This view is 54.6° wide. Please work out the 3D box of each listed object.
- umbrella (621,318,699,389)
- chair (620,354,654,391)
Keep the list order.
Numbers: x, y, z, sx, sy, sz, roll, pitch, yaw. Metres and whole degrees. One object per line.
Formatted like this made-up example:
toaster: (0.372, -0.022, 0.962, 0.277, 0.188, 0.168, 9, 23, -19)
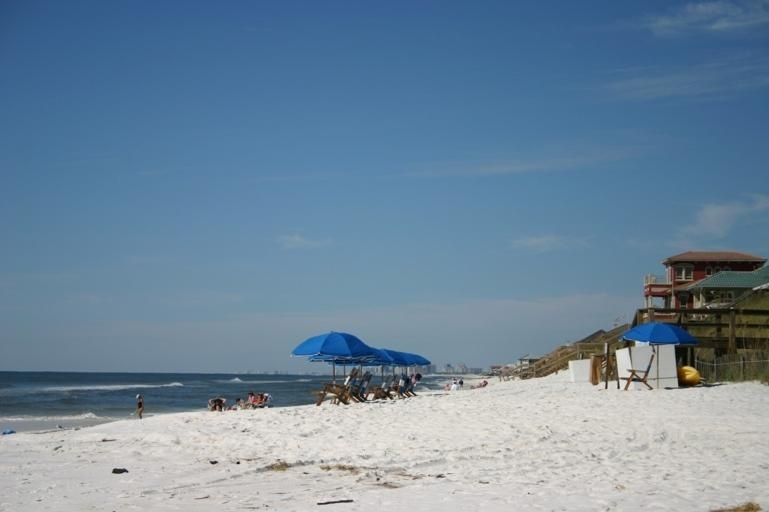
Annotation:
umbrella: (9.488, 3.427, 25.821, 2.648, 1.999, 2.366, 3, -3, -16)
chair: (8.563, 3.988, 25.063, 0.979, 1.227, 0.577, 0, 1, 16)
